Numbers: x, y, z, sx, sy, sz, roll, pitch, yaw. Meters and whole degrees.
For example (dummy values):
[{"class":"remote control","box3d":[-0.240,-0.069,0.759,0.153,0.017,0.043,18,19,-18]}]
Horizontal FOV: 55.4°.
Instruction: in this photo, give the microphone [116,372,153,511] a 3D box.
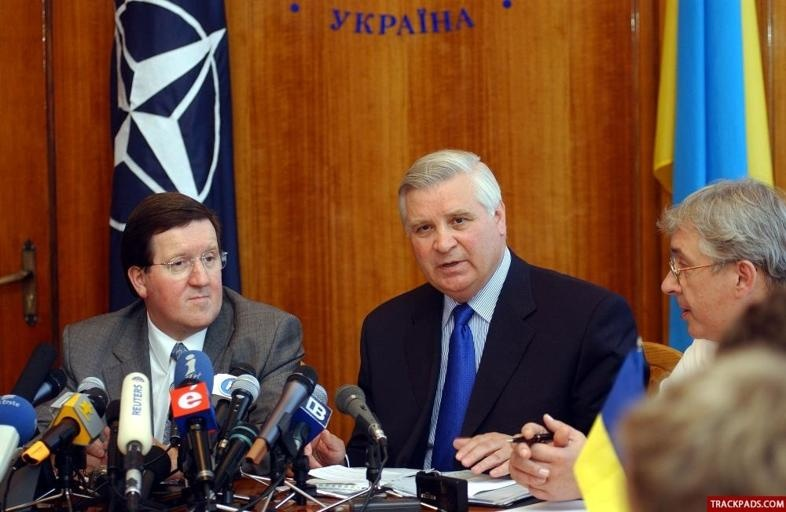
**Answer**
[{"class":"microphone","box3d":[-0.790,0.566,2.288,0.099,0.379,0.243,0,-3,-20]}]

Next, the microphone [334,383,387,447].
[{"class":"microphone","box3d":[-0.125,0.520,2.628,0.084,0.106,0.363,-25,22,-8]}]

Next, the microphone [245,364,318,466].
[{"class":"microphone","box3d":[-0.348,0.501,2.430,0.104,0.122,0.408,13,46,23]}]

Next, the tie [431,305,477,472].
[{"class":"tie","box3d":[0.259,0.562,3.160,0.137,0.687,0.097,4,-19,5]}]

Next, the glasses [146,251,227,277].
[{"class":"glasses","box3d":[-0.928,0.037,3.358,0.296,0.119,0.101,1,-3,-30]}]

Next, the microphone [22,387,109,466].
[{"class":"microphone","box3d":[-1.045,0.553,2.499,0.124,0.167,0.448,2,17,10]}]

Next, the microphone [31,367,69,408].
[{"class":"microphone","box3d":[-1.237,0.475,2.684,0.068,0.082,0.158,-15,12,24]}]

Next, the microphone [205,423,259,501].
[{"class":"microphone","box3d":[-0.488,0.637,2.361,0.088,0.106,0.328,18,34,-4]}]
